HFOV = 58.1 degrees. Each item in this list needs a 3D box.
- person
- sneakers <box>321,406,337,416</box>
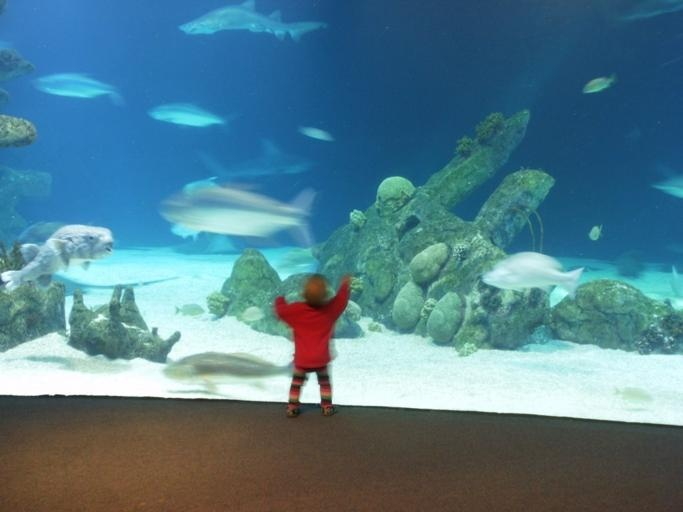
[{"bbox_3d":[-0.569,1.677,11.275,1.292,2.663,0.845,4,24,-1],"label":"person"},{"bbox_3d":[-0.241,2.891,11.442,0.103,0.185,0.274,3,4,40],"label":"sneakers"}]
